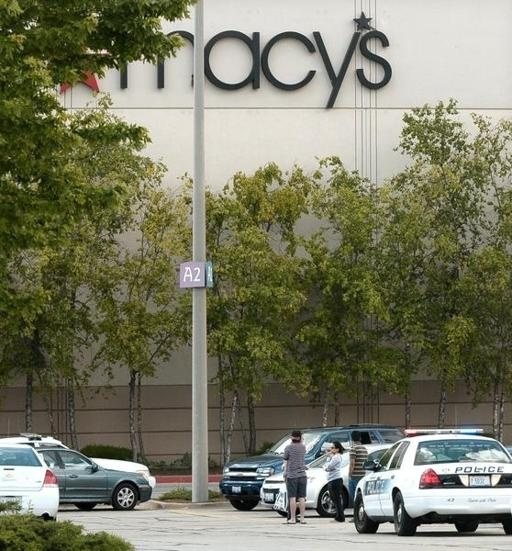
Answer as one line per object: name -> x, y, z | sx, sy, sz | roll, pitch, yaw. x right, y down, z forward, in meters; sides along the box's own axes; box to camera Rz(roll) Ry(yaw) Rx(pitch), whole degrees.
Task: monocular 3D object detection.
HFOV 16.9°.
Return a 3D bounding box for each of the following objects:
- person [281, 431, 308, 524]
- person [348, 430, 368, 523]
person -> 0.814, 4.318, 36.460 | 0.458, 1.976, 0.543 | -1, -3, 1
person -> 2.200, 4.120, 37.042 | 0.365, 1.428, 0.492 | 1, -8, -19
